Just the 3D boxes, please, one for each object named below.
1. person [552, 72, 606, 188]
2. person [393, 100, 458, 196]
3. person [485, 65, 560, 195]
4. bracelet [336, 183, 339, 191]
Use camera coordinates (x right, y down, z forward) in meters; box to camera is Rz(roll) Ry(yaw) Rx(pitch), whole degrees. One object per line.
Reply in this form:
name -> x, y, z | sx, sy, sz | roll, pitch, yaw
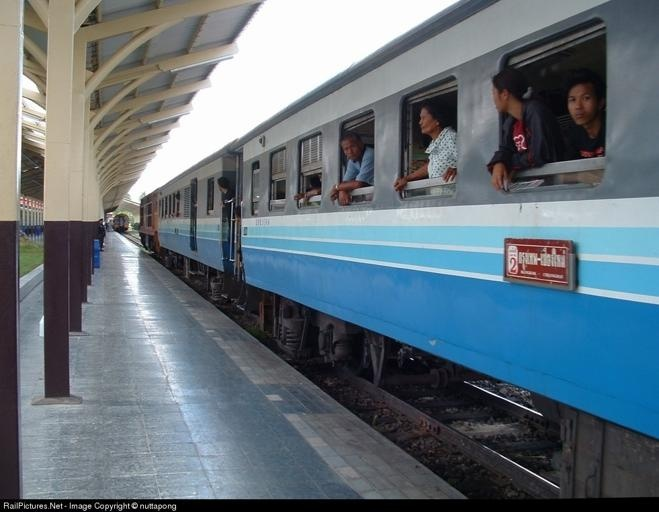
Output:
person -> 1.736, -0.863, 3.230 | 0.274, 0.800, 0.767 | 2, 4, 29
person -> 1.001, -1.033, 4.400 | 0.438, 0.799, 0.925 | -6, 4, -21
person -> 1.423, -0.929, 3.440 | 0.212, 0.894, 0.529 | -2, 4, -36
bracelet -> 0.097, -0.851, 5.807 | 0.044, 0.068, 0.063 | -6, -5, -1
